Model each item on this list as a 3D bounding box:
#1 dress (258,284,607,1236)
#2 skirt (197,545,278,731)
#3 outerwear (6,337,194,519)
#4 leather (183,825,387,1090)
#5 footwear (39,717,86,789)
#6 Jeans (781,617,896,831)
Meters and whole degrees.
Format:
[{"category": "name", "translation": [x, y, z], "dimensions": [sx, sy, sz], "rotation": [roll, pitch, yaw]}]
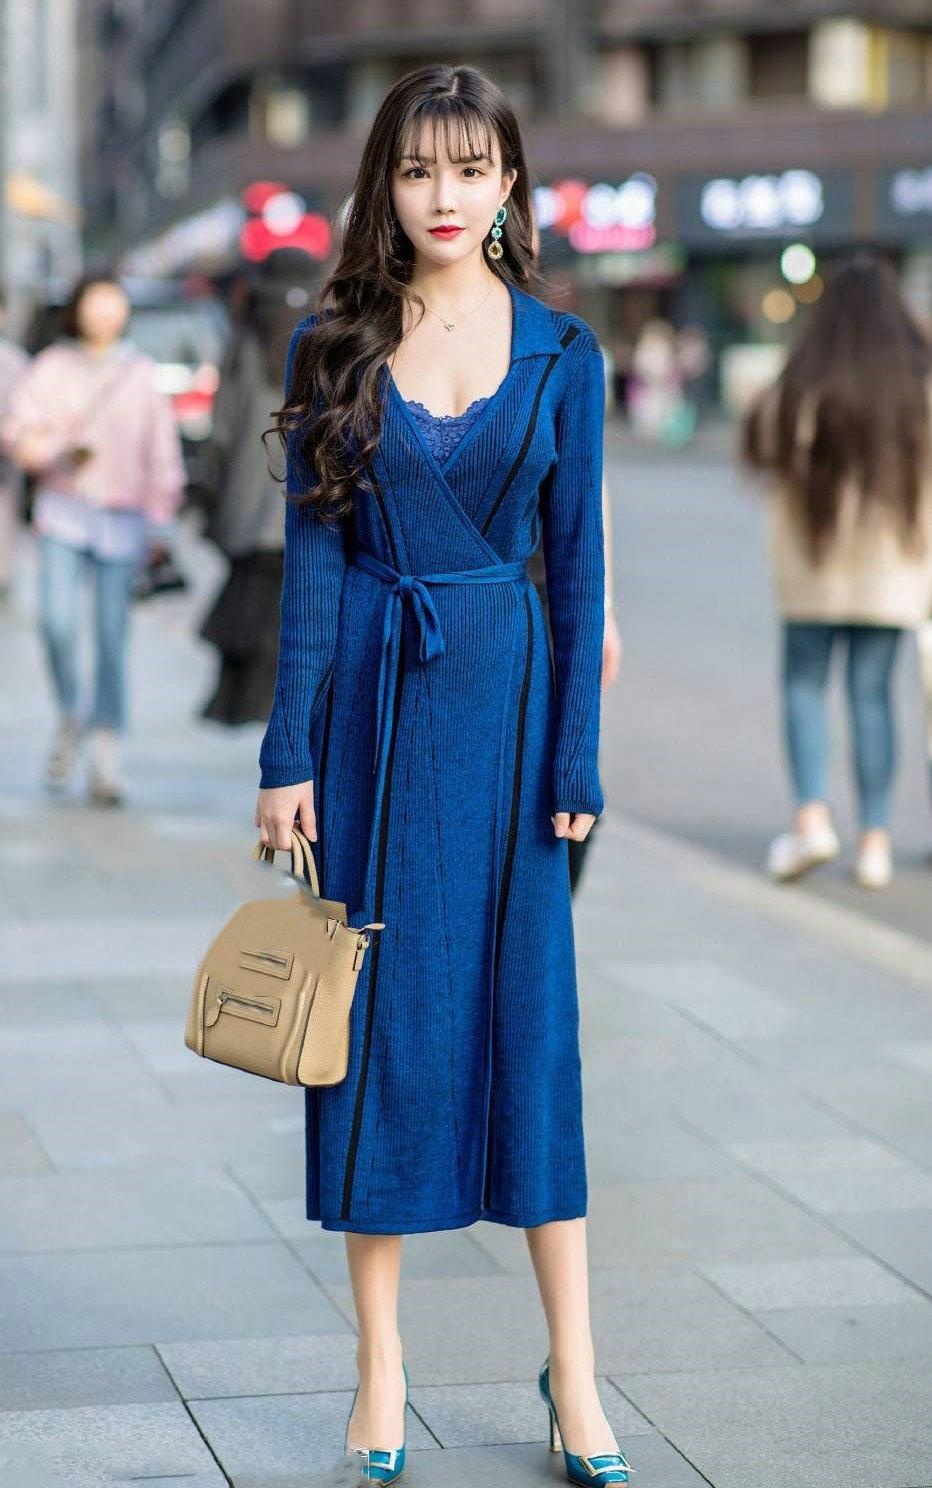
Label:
[{"category": "dress", "translation": [-0.041, 0.027, 1.790], "dimensions": [0.388, 1.092, 0.187], "rotation": [1, 7, 4]}, {"category": "skirt", "translation": [-1.006, -0.470, 7.094], "dimensions": [0.188, 0.720, 0.746], "rotation": [8, 2, -12]}, {"category": "outerwear", "translation": [-1.589, -1.322, 6.648], "dimensions": [0.692, 0.650, 0.342], "rotation": [18, -15, -15]}, {"category": "leather", "translation": [-0.205, 0.255, 1.715], "dimensions": [0.211, 0.208, 0.121], "rotation": [5, 8, 35]}, {"category": "footwear", "translation": [-1.797, 0.044, 6.925], "dimensions": [0.178, 0.286, 0.097], "rotation": [4, 7, -40]}, {"category": "Jeans", "translation": [1.406, -0.058, 5.789], "dimensions": [0.382, 0.243, 1.285], "rotation": [5, 49, 9]}]
